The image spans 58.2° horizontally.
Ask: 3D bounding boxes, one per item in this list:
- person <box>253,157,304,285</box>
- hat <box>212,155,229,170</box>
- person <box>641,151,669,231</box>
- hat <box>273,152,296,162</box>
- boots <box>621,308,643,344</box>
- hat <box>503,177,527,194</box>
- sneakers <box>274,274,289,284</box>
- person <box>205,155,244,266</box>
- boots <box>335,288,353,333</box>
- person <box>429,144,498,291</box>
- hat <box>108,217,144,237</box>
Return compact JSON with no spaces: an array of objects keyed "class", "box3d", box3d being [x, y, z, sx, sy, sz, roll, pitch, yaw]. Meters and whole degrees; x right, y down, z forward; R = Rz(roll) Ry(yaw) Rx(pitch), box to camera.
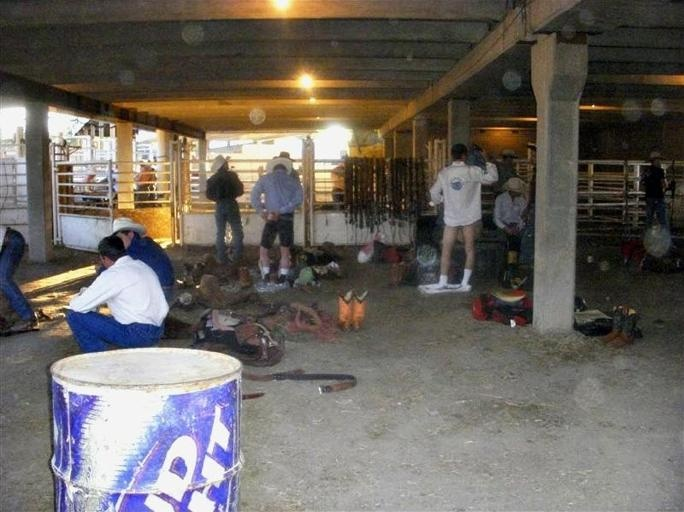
[{"class":"person","box3d":[-1.095,-0.590,10.392,0.834,2.120,1.290,-2,13,-6]},{"class":"hat","box3d":[-2.278,-1.742,11.553,0.265,0.336,0.496,-7,14,-25]},{"class":"person","box3d":[6.361,-1.297,12.468,0.545,1.412,0.783,5,14,26]},{"class":"hat","box3d":[-0.972,-1.744,10.649,0.354,0.167,0.421,2,5,18]},{"class":"boots","box3d":[3.180,0.771,6.810,0.228,0.393,0.306,2,11,15]},{"class":"hat","box3d":[2.901,-1.134,10.090,0.302,0.118,0.270,0,34,-26]},{"class":"sneakers","box3d":[-0.997,0.385,10.151,0.161,0.248,0.168,-2,1,15]},{"class":"person","box3d":[-2.201,-0.897,11.669,0.679,2.035,0.862,-4,13,-12]},{"class":"boots","box3d":[0.073,0.614,7.566,0.210,0.489,0.474,4,22,6]},{"class":"person","box3d":[1.788,-0.573,9.400,0.997,2.222,0.658,1,13,8]},{"class":"hat","box3d":[-2.553,-0.362,7.350,0.270,0.103,0.234,-8,1,-35]}]
